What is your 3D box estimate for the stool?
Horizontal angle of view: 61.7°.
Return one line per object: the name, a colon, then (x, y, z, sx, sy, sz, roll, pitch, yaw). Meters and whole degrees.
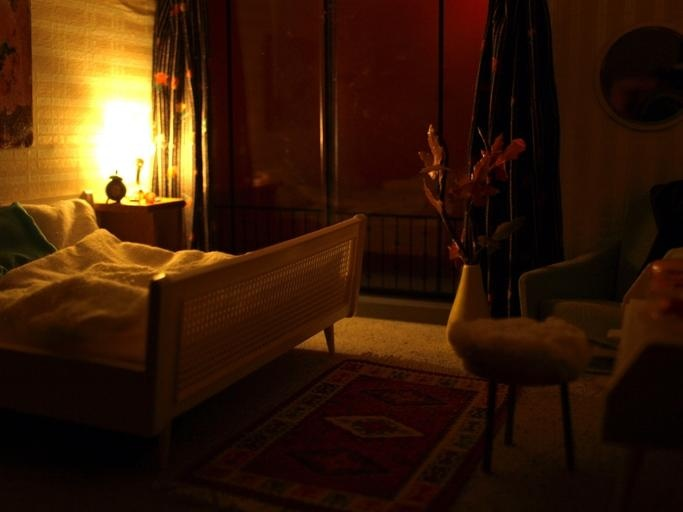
stool: (0.699, 0.471, 2.164, 0.446, 0.522, 0.432, 0, -3, -42)
